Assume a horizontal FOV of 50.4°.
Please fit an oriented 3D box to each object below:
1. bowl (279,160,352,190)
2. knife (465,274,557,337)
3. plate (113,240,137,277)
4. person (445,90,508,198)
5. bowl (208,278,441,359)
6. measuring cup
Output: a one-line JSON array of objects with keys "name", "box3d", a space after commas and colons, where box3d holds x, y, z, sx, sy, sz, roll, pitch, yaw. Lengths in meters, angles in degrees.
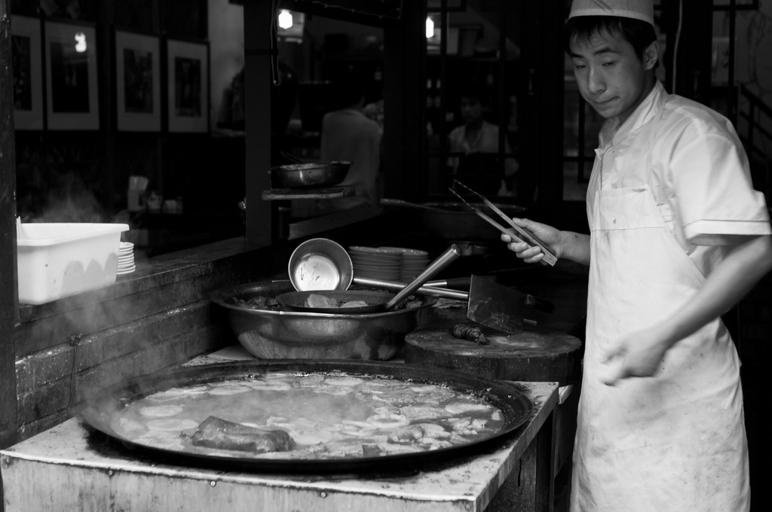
[{"name": "bowl", "box3d": [-0.360, -0.398, 4.045, 0.217, 0.098, 0.260, -5, -7, 7]}, {"name": "knife", "box3d": [0.543, 0.220, 3.606, 0.385, 0.274, 0.330, 6, 12, 24]}, {"name": "plate", "box3d": [-1.047, 0.013, 3.308, 0.103, 0.067, 0.107, 2, 2, 4]}, {"name": "person", "box3d": [0.724, -0.901, 6.654, 0.351, 0.857, 0.412, 1, 13, 3]}, {"name": "bowl", "box3d": [-0.310, 0.306, 3.609, 0.943, 0.272, 0.474, 4, 9, 14]}, {"name": "measuring cup", "box3d": [-0.036, 0.098, 4.159, 0.888, 0.352, 0.322, 5, -15, -28]}]
